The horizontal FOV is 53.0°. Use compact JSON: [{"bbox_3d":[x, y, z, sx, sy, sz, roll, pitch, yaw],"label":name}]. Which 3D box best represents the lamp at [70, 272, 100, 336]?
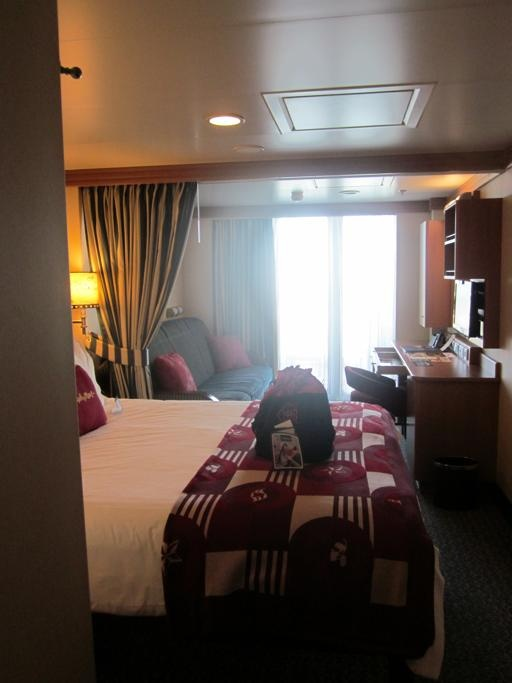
[{"bbox_3d":[-1.204,-0.258,3.622,0.174,0.467,0.420,-5,10,-20],"label":"lamp"}]

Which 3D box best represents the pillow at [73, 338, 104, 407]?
[{"bbox_3d":[-0.936,0.160,2.869,0.093,0.336,0.324,-15,16,-9],"label":"pillow"}]

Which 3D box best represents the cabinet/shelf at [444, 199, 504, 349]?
[{"bbox_3d":[1.574,-0.553,3.801,0.291,1.058,0.911,0,9,11],"label":"cabinet/shelf"}]

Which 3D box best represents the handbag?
[{"bbox_3d":[0.180,0.311,2.320,0.329,0.384,0.367,0,1,22],"label":"handbag"}]

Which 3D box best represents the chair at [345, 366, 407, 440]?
[{"bbox_3d":[1.000,0.510,4.604,0.574,0.751,0.583,-2,8,7],"label":"chair"}]
